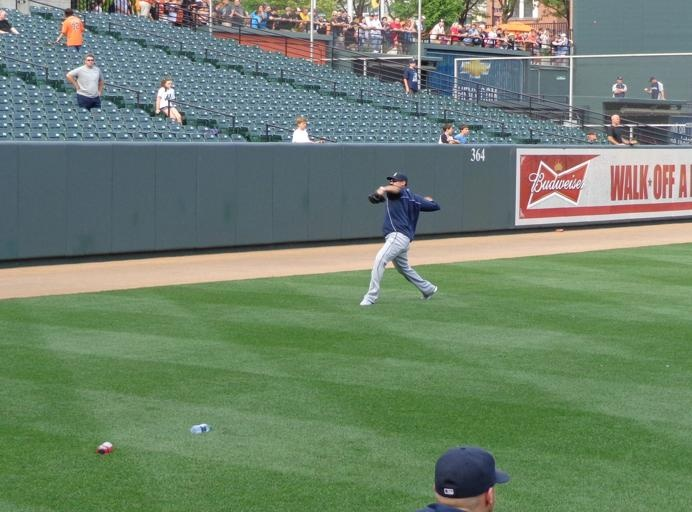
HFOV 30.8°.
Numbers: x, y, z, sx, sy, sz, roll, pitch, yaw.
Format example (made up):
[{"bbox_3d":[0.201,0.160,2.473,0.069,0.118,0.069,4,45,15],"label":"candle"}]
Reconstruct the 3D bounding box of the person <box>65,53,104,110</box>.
[{"bbox_3d":[-5.228,-3.453,24.961,0.637,1.041,1.200,-1,7,-11],"label":"person"}]

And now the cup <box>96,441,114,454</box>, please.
[{"bbox_3d":[-2.685,2.104,13.858,0.178,0.100,0.123,-1,7,-13],"label":"cup"}]

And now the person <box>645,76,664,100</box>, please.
[{"bbox_3d":[9.684,-5.299,39.452,0.483,0.706,0.886,1,7,-3],"label":"person"}]

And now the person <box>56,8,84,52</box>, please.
[{"bbox_3d":[-6.811,-5.535,30.651,0.630,1.063,2.209,-1,7,-12],"label":"person"}]

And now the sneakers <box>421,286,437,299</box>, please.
[{"bbox_3d":[1.252,0.540,19.082,0.145,0.109,0.302,14,-36,-16],"label":"sneakers"}]

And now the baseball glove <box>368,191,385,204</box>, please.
[{"bbox_3d":[0.449,-0.870,18.344,0.179,0.126,0.240,3,7,38],"label":"baseball glove"}]

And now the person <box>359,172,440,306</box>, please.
[{"bbox_3d":[0.769,-0.279,18.922,0.992,1.918,1.461,6,8,34],"label":"person"}]

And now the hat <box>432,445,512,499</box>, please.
[{"bbox_3d":[1.058,1.931,11.256,0.384,0.285,0.560,6,11,38],"label":"hat"}]

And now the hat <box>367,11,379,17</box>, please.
[{"bbox_3d":[0.827,-7.965,41.248,0.271,0.100,0.370,2,3,0],"label":"hat"}]

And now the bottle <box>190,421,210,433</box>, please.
[{"bbox_3d":[-1.680,1.930,14.244,0.163,0.051,0.103,-3,6,-45],"label":"bottle"}]

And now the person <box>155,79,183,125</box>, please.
[{"bbox_3d":[-3.741,-3.215,26.082,0.493,0.877,0.907,0,7,-10],"label":"person"}]
